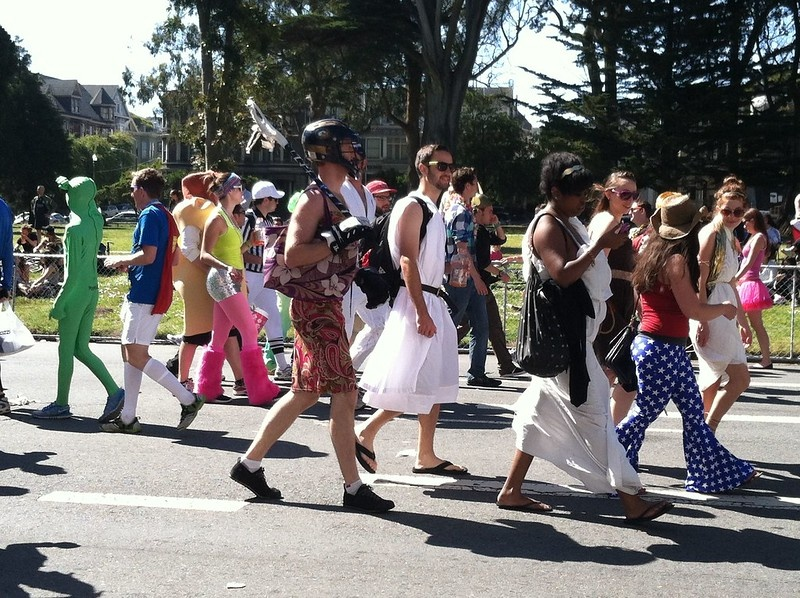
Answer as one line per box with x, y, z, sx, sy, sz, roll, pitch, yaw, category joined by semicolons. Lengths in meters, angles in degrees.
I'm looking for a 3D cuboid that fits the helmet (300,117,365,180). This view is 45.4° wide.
-0.465;-1.053;6.661;0.384;0.426;0.339;-6;9;-8;helmet

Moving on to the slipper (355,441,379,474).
-0.262;1.203;7.364;0.085;0.311;0.107;-22;-2;2;slipper

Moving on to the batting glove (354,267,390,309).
-0.216;-0.091;7.122;0.220;0.309;0.111;-14;23;44;batting glove

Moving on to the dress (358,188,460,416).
0.079;0.054;7.277;0.782;1.697;0.424;-1;7;-9;dress

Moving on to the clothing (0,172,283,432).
-2.575;-0.016;8.771;1.479;2.335;0.676;4;8;29;clothing

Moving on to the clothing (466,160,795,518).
1.746;0.191;7.921;2.135;3.639;1.431;-2;1;8;clothing

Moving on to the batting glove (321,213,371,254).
-0.363;-0.436;6.389;0.325;0.200;0.129;-33;1;-6;batting glove

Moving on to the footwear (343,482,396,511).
-0.218;1.405;6.839;0.365;0.197;0.163;2;-1;6;footwear
